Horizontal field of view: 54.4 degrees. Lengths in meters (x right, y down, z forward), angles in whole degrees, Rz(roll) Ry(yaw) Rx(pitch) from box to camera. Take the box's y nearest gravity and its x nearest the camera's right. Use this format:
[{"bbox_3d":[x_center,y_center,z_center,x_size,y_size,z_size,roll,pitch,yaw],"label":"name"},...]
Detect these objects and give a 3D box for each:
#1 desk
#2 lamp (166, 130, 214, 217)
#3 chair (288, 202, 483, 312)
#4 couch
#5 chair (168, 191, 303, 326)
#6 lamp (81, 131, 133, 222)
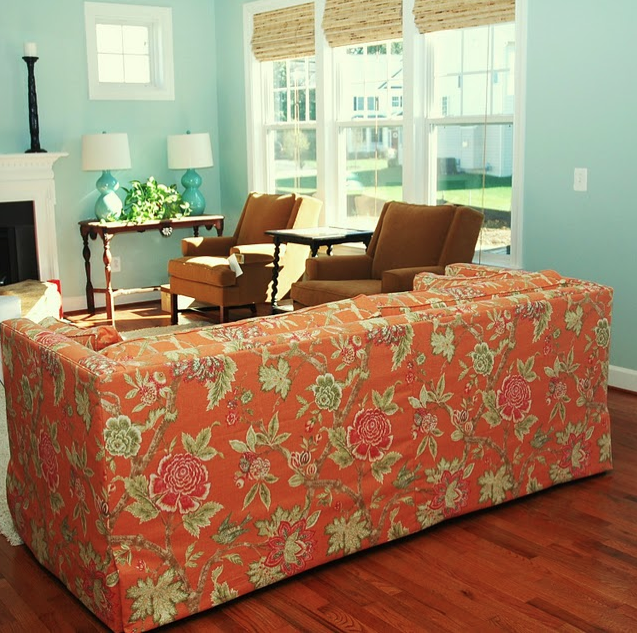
[{"bbox_3d":[-1.602,-0.504,6.152,1.308,0.879,0.500,-12,19,-41],"label":"desk"},{"bbox_3d":[-1.271,-1.392,6.218,0.574,0.703,0.529,0,14,13],"label":"lamp"},{"bbox_3d":[0.445,-0.226,4.231,0.979,1.048,0.888,-9,18,-27],"label":"chair"},{"bbox_3d":[0.089,0.322,1.951,1.741,0.772,0.475,-6,14,-28],"label":"couch"},{"bbox_3d":[-0.723,-0.519,5.517,1.009,1.097,0.932,-8,19,-31],"label":"chair"},{"bbox_3d":[-1.945,-1.278,5.703,0.403,0.801,0.495,-4,14,-19],"label":"lamp"}]
